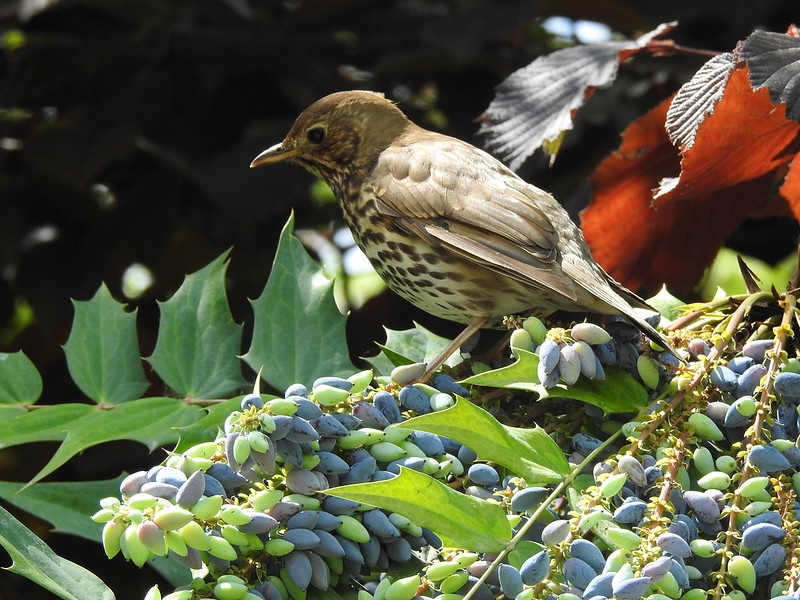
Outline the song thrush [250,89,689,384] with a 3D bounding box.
[{"bbox_3d":[0.090,-0.130,2.395,0.923,0.463,0.308,4,12,-11],"label":"song thrush"}]
